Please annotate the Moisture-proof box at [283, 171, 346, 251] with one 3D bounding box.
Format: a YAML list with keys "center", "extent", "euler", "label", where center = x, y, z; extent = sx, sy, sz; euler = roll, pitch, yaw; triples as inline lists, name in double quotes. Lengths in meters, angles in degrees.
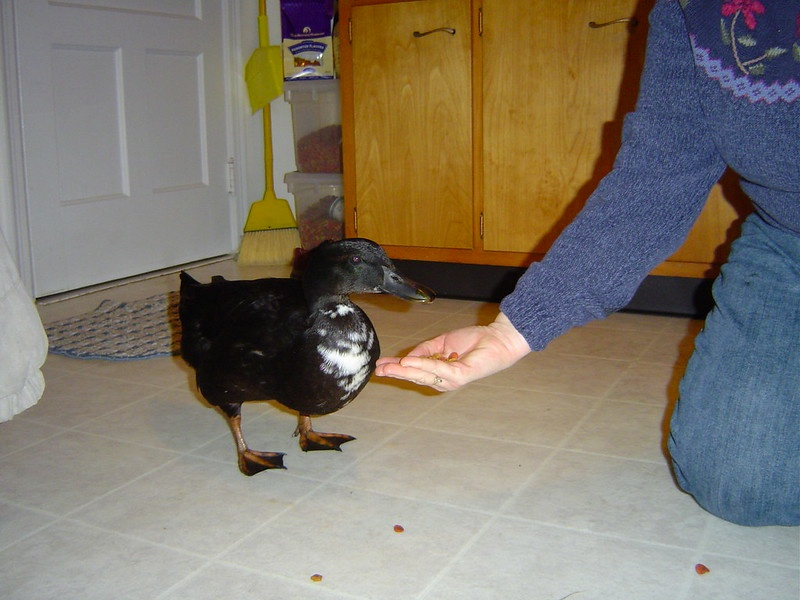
- center: [-0.441, -0.482, 3.491]
  extent: [0.343, 0.332, 0.363]
  euler: [5, 7, 2]
  label: "Moisture-proof box"

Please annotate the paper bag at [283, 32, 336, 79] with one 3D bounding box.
- center: [-0.496, -1.322, 3.400]
  extent: [0.333, 0.214, 0.113]
  euler: [8, 23, 27]
  label: "paper bag"

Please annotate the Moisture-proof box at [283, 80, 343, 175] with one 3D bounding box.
- center: [-0.464, -0.914, 3.287]
  extent: [0.408, 0.473, 0.149]
  euler: [7, 24, 25]
  label: "Moisture-proof box"

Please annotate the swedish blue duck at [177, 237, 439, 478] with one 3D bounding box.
- center: [-0.274, 0.108, 1.546]
  extent: [0.857, 0.525, 0.410]
  euler: [15, 15, 42]
  label: "swedish blue duck"
